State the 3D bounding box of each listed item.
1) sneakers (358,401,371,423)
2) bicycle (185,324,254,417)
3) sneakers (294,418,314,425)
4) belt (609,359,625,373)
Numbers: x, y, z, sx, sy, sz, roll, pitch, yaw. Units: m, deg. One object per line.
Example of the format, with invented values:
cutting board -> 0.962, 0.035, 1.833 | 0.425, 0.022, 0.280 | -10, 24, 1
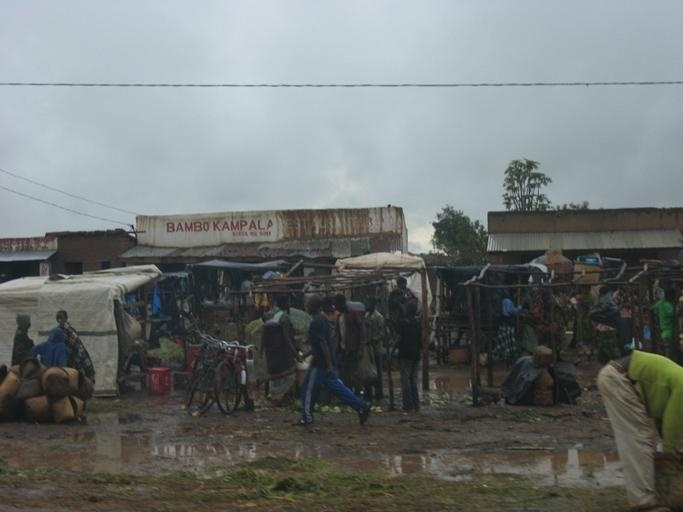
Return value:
sneakers -> 0.464, 3.052, 21.519 | 0.147, 0.491, 0.197 | 5, 2, -10
bicycle -> -2.479, 2.464, 22.867 | 0.921, 1.162, 1.808 | 20, -11, -34
sneakers -> -0.704, 3.218, 21.442 | 0.396, 0.190, 0.143 | 2, 1, 2
belt -> 4.544, 1.826, 18.137 | 0.196, 0.108, 0.158 | 34, -9, -5
